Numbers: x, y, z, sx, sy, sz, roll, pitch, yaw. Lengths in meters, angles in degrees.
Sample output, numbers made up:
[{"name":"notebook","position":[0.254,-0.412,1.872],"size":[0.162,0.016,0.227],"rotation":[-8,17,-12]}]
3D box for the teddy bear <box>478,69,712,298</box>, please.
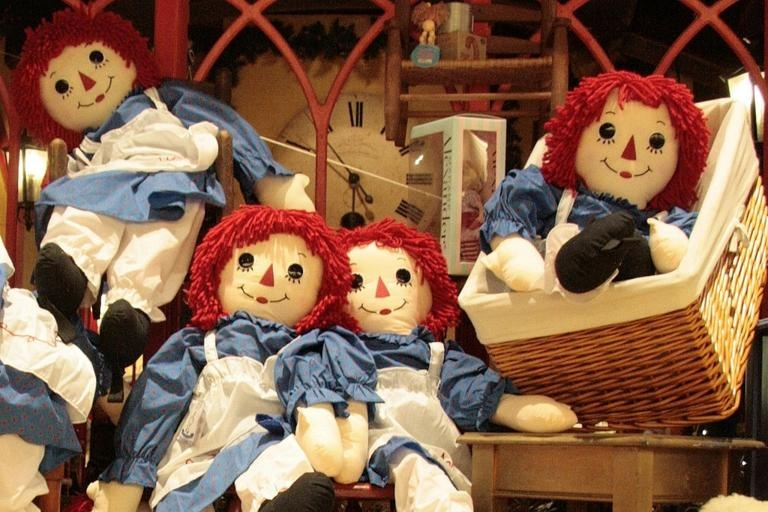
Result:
[{"name":"teddy bear","position":[0.657,-0.212,2.728],"size":[0.553,0.764,0.714],"rotation":[13,5,28]}]
